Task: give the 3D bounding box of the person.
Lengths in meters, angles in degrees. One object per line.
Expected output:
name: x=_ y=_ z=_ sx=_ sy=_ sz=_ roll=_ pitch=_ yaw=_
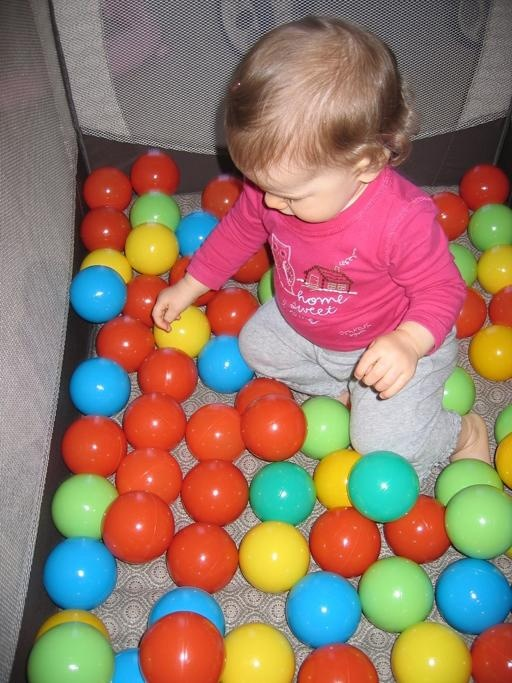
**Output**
person: x=0.089 y=-0.129 z=1.078 sx=0.338 sy=0.890 sz=0.594 roll=-35 pitch=60 yaw=-27
